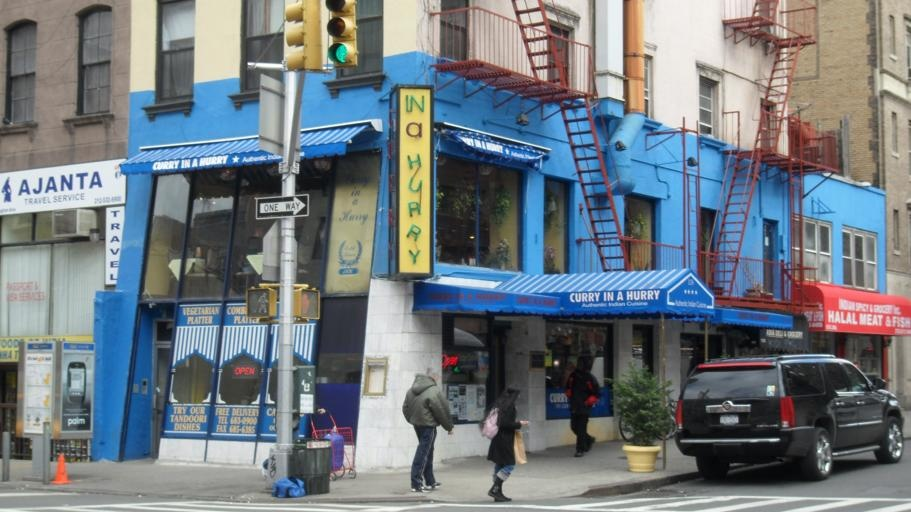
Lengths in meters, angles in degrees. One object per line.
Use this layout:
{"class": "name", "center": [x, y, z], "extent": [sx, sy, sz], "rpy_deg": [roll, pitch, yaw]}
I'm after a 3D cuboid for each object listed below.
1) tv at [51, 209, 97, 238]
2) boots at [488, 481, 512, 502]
{"class": "tv", "center": [-12.555, -1.110, 51.540], "extent": [1.698, 0.831, 1.046], "rpy_deg": [0, -3, 8]}
{"class": "boots", "center": [1.364, 6.766, 44.332], "extent": [0.883, 0.593, 0.372], "rpy_deg": [8, -6, -24]}
